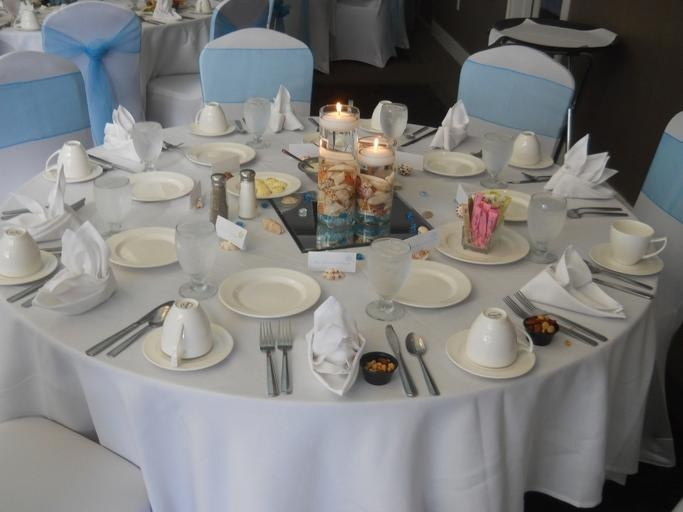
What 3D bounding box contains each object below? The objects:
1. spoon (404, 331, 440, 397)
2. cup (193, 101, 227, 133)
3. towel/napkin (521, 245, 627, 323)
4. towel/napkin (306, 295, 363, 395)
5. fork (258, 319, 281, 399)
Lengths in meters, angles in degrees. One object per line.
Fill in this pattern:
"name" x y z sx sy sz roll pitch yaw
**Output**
"spoon" 0.186 0.238 1.087 0.029 0.020 0.170 -1 36 -9
"cup" -0.587 -0.604 2.131 0.111 0.139 0.159 1 24 -7
"towel/napkin" 0.622 0.088 1.275 0.184 0.083 0.212 -26 36 -20
"towel/napkin" -0.018 0.205 1.071 0.115 0.080 0.250 -2 32 -12
"fork" -0.164 0.232 1.076 0.031 0.029 0.248 5 47 -18
